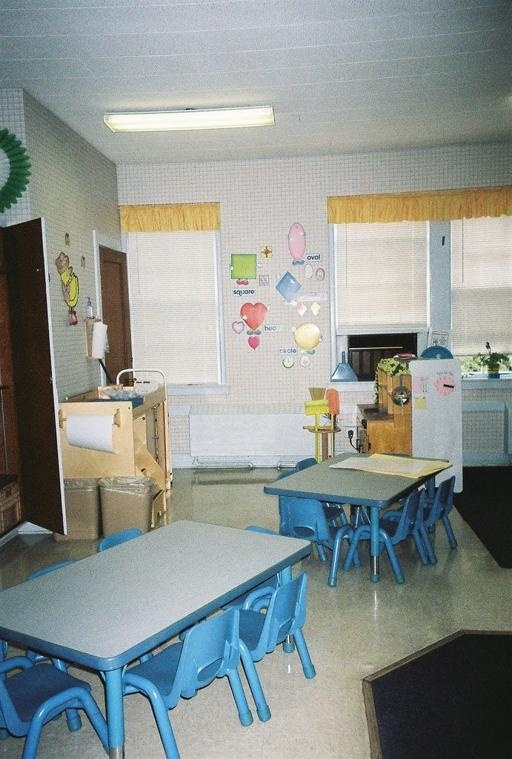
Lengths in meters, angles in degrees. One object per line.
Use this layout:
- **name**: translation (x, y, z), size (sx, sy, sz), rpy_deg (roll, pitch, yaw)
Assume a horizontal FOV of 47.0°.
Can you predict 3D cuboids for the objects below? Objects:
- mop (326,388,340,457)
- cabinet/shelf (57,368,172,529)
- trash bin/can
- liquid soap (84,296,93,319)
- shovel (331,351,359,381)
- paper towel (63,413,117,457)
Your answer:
- **mop**: translation (0.775, 0.397, 5.963), size (0.065, 0.610, 0.142), rpy_deg (-17, 21, -35)
- **cabinet/shelf**: translation (-1.188, 0.593, 4.850), size (0.485, 1.192, 1.205), rpy_deg (-2, 7, 2)
- **trash bin/can**: translation (-1.108, 0.979, 4.800), size (0.803, 0.470, 0.549), rpy_deg (-1, -2, 7)
- **liquid soap**: translation (-1.647, -0.705, 5.822), size (0.074, 0.230, 0.205), rpy_deg (-1, 3, -12)
- **shovel**: translation (1.048, -0.079, 7.011), size (0.296, 0.229, 0.087), rpy_deg (0, 3, 10)
- **paper towel**: translation (-1.294, 0.419, 4.635), size (0.336, 0.242, 0.116), rpy_deg (2, 0, 16)
